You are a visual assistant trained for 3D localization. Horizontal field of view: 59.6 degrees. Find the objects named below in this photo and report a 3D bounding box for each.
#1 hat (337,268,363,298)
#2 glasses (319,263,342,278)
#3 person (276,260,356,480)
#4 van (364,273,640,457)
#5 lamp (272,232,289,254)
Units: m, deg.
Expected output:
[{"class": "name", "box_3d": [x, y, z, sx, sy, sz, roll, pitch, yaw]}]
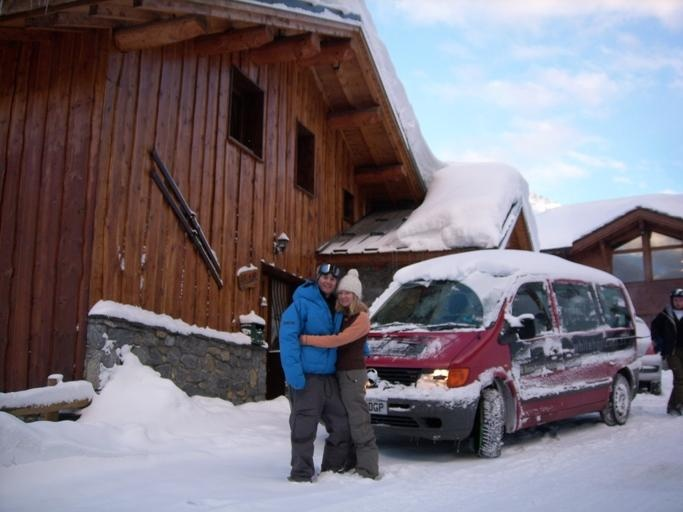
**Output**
[{"class": "hat", "box_3d": [0.094, 0.275, 6.436, 0.223, 0.308, 0.307, 8, -15, 23]}, {"class": "glasses", "box_3d": [-0.135, 0.142, 6.435, 0.172, 0.108, 0.219, 13, -29, -7]}, {"class": "person", "box_3d": [-0.266, 1.175, 6.177, 0.820, 1.605, 0.397, 2, -1, -38]}, {"class": "van", "box_3d": [2.132, 1.402, 8.039, 3.568, 1.858, 1.924, 11, -16, -41]}, {"class": "lamp", "box_3d": [-1.132, -0.251, 11.956, 0.335, 0.519, 0.325, -5, -6, 33]}]
